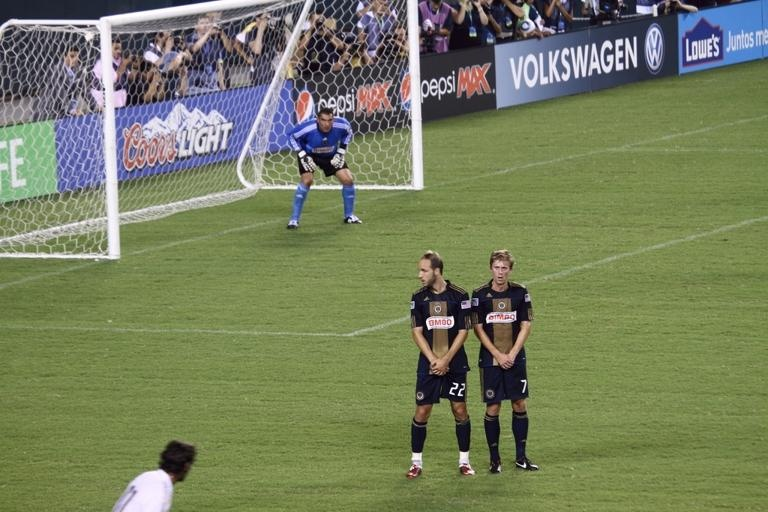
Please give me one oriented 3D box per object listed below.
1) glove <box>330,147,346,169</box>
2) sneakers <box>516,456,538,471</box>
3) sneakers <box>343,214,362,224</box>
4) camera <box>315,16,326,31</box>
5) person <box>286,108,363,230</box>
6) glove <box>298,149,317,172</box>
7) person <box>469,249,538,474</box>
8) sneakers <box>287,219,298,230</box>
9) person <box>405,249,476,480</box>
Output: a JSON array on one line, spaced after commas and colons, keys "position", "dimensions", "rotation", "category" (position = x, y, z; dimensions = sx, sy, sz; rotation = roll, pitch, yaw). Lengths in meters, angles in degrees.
[{"position": [-0.666, -1.471, 22.647], "dimensions": [0.241, 0.269, 0.095], "rotation": [0, 14, -10], "category": "glove"}, {"position": [1.518, 2.204, 16.471], "dimensions": [0.295, 0.107, 0.099], "rotation": [3, 13, 8], "category": "sneakers"}, {"position": [-0.452, -0.562, 22.713], "dimensions": [0.236, 0.088, 0.117], "rotation": [1, 11, 28], "category": "sneakers"}, {"position": [-1.146, -4.270, 27.971], "dimensions": [0.227, 0.235, 0.265], "rotation": [0, -34, -4], "category": "camera"}, {"position": [-0.933, -1.329, 22.674], "dimensions": [1.038, 1.722, 0.914], "rotation": [-5, 8, -1], "category": "person"}, {"position": [-1.104, -1.384, 22.271], "dimensions": [0.191, 0.321, 0.114], "rotation": [-38, 7, -1], "category": "glove"}, {"position": [1.287, 1.107, 16.372], "dimensions": [0.636, 2.362, 0.353], "rotation": [-5, 9, 2], "category": "person"}, {"position": [-1.313, -0.478, 22.521], "dimensions": [0.150, 0.054, 0.178], "rotation": [1, 8, 2], "category": "sneakers"}, {"position": [0.571, 1.130, 16.338], "dimensions": [0.806, 2.415, 0.386], "rotation": [-5, 8, 2], "category": "person"}]
